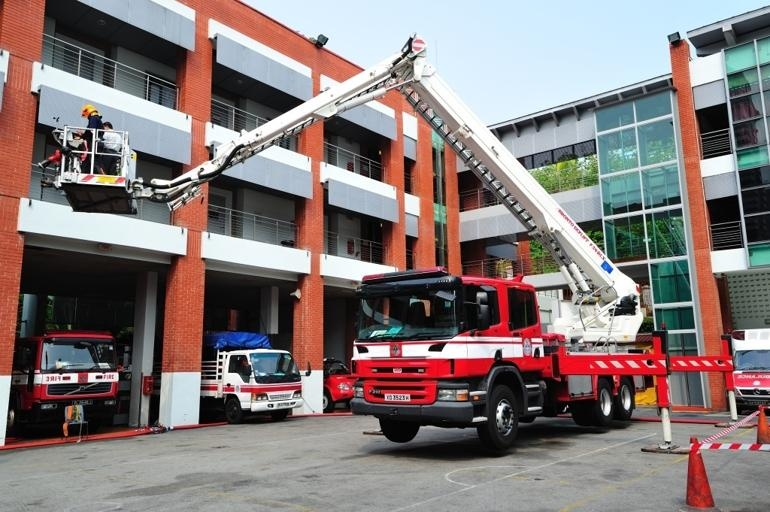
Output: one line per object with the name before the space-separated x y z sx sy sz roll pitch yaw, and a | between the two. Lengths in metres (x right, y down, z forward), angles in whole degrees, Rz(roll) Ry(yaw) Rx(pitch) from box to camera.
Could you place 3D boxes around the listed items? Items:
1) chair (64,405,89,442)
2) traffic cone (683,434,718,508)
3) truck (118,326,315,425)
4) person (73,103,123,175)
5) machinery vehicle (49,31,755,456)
chair | -10.706 5.806 21.425 0.729 1.046 0.748 9 -15 -27
traffic cone | 6.746 4.715 13.388 0.798 1.376 0.804 -5 -10 32
truck | -6.765 5.647 26.770 6.531 3.248 2.969 -14 -14 40
person | -7.878 -3.276 17.015 1.125 2.192 0.794 2 -15 -24
machinery vehicle | 1.903 0.545 23.358 25.980 13.462 15.532 4 -16 -30
